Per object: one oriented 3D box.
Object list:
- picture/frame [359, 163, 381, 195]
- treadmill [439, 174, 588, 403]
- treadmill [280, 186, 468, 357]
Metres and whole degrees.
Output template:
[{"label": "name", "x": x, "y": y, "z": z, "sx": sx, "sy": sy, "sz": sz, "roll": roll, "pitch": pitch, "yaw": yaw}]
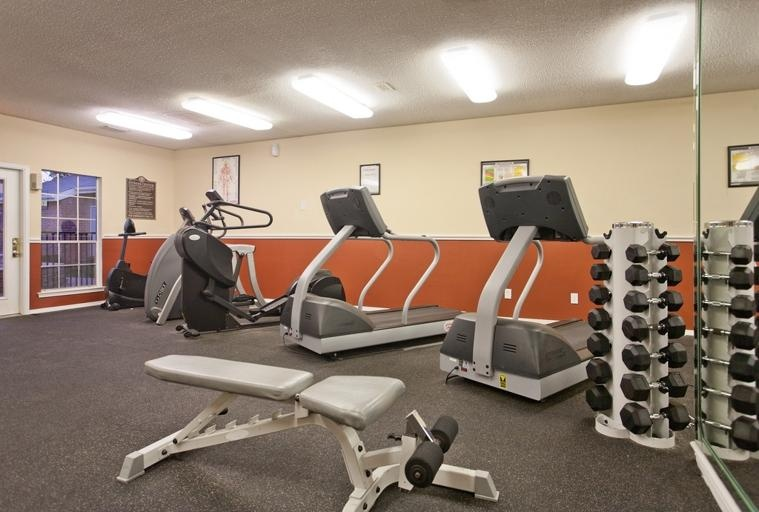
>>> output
[{"label": "picture/frame", "x": -0.140, "y": -1.113, "z": 7.560, "sx": 0.304, "sy": 0.399, "sz": 0.031, "roll": -2, "pitch": 9, "yaw": -14}, {"label": "treadmill", "x": 1.205, "y": 0.296, "z": 4.484, "sx": 1.097, "sy": 1.934, "sz": 0.911, "roll": 5, "pitch": 9, "yaw": 39}, {"label": "treadmill", "x": 0.113, "y": 0.177, "z": 6.000, "sx": 2.308, "sy": 1.664, "sz": 1.137, "roll": 0, "pitch": 7, "yaw": -36}]
